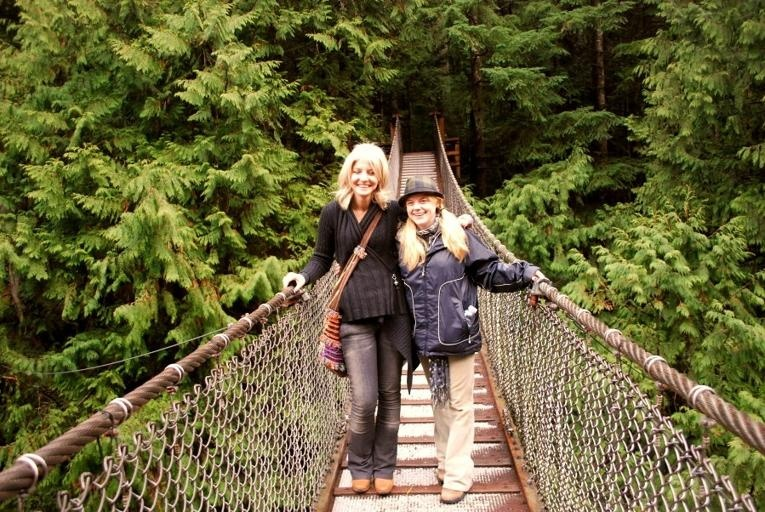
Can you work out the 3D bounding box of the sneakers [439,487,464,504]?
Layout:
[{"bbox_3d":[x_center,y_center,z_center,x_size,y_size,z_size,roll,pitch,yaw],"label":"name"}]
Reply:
[{"bbox_3d":[0.633,2.221,5.367,0.180,0.084,0.118,-6,16,8],"label":"sneakers"}]

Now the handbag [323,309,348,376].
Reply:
[{"bbox_3d":[-0.468,0.796,5.356,0.374,0.512,0.183,-4,7,-37],"label":"handbag"}]

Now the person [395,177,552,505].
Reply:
[{"bbox_3d":[0.735,0.724,5.445,1.000,2.912,0.891,-8,15,-4],"label":"person"}]
